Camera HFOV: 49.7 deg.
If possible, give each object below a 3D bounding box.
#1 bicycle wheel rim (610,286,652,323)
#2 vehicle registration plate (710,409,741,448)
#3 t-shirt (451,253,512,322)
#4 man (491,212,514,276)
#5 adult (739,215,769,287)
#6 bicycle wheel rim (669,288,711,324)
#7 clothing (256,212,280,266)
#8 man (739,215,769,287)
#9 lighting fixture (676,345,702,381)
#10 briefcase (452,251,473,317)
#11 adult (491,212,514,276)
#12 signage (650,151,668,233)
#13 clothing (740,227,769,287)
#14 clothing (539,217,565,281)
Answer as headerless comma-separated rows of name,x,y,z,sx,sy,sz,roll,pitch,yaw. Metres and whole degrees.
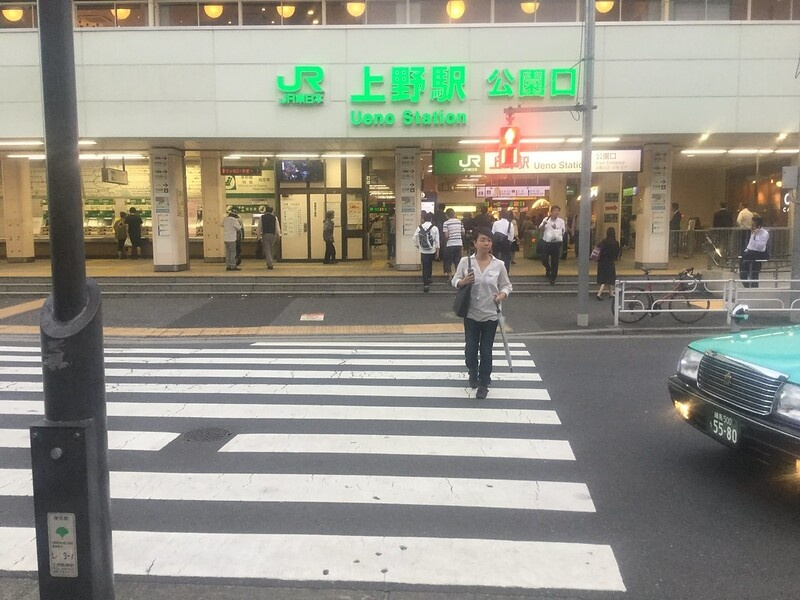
bicycle wheel rim,5.022,0.112,18.895,1.026,0.777,0.569,-4,15,-5
vehicle registration plate,4.059,1.617,10.788,0.066,0.339,0.489,-4,13,-20
t-shirt,1.312,-0.138,13.587,0.858,1.105,0.524,3,4,4
man,2.745,-1.503,23.036,0.480,1.882,0.540,9,23,7
adult,8.789,-1.168,21.377,0.625,1.808,1.389,5,13,24
bicycle wheel rim,6.358,0.186,18.936,0.704,0.818,0.828,-3,36,14
clothing,-3.990,-1.873,26.374,0.474,1.907,0.588,1,2,36
man,8.816,-1.180,21.429,0.624,1.809,1.215,4,13,22
lighting fixture,3.836,0.853,11.535,0.303,0.352,0.337,20,-6,21
briefcase,1.003,-0.148,13.512,0.271,0.949,0.354,1,11,10
adult,2.731,-1.529,22.956,0.450,1.760,0.480,8,26,3
signage,7.623,-3.051,25.309,0.381,2.545,0.344,4,-1,3
clothing,8.824,-1.050,21.516,0.419,1.941,0.536,-3,13,-33
clothing,4.188,-1.498,23.723,0.588,2.001,0.782,2,-2,3
